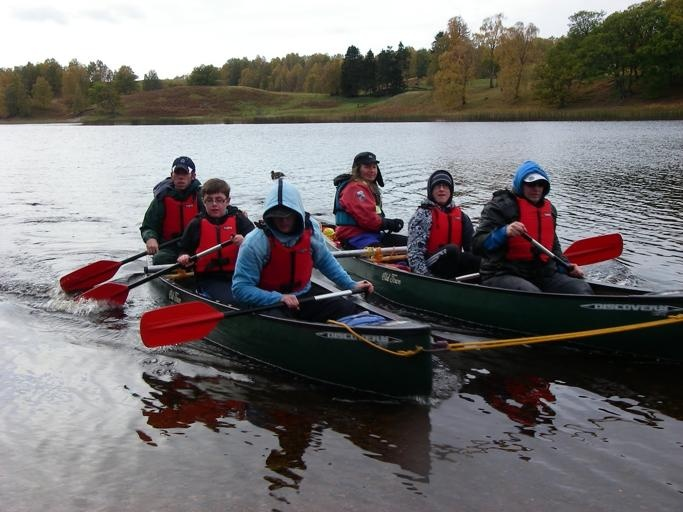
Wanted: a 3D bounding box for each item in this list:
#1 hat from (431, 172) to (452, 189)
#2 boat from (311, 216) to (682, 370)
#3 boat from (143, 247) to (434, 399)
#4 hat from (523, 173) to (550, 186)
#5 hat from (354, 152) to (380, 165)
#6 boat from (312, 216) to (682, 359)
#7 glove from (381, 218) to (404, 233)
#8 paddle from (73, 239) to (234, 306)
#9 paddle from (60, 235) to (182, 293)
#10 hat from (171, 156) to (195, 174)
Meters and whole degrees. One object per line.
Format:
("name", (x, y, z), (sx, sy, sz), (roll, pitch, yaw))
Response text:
("hat", (1.157, -0.900, 7.174), (0.226, 0.198, 0.228), (1, 30, -3))
("boat", (1.530, 0.433, 6.817), (4.122, 0.423, 0.861), (9, 10, 35))
("boat", (-0.627, 0.618, 5.872), (3.155, 0.538, 1.013), (10, 13, 39))
("hat", (2.017, -0.786, 6.231), (0.291, 0.122, 0.110), (-5, 18, -11))
("hat", (0.295, -1.286, 8.014), (0.229, 0.107, 0.276), (-3, 3, -29))
("boat", (1.530, 0.447, 6.821), (4.066, 0.411, 0.854), (8, 9, 35))
("glove", (0.684, -0.403, 8.197), (0.268, 0.099, 0.201), (-9, 19, -44))
("paddle", (-2.285, 0.222, 7.428), (2.204, 0.276, 0.208), (-19, 12, 3))
("paddle", (-2.908, 0.066, 8.266), (0.118, 0.329, 1.841), (36, 44, 28))
("hat", (-2.068, -1.191, 7.983), (0.257, 0.132, 0.308), (11, -5, -2))
